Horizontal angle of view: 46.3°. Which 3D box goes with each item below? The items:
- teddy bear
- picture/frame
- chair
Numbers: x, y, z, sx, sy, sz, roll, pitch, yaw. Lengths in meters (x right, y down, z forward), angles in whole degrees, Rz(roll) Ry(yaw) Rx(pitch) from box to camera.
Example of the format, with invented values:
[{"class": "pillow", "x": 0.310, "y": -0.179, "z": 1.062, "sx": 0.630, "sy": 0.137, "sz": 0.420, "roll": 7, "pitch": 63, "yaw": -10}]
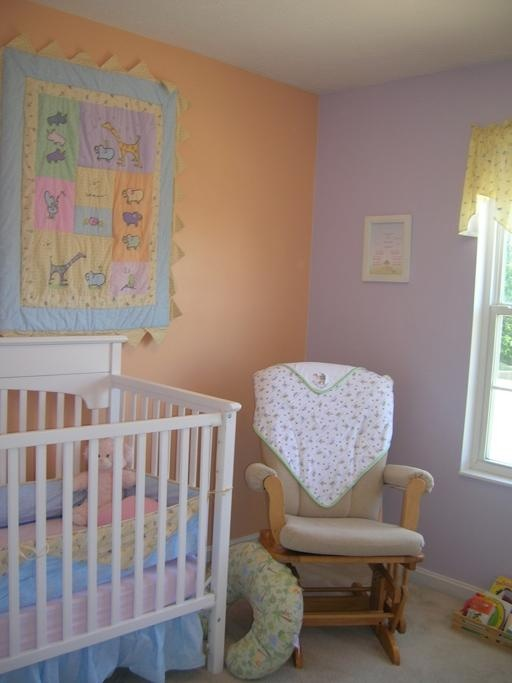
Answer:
[{"class": "teddy bear", "x": -0.539, "y": 0.490, "z": 2.128, "sx": 0.275, "sy": 0.293, "sz": 0.178, "roll": 2, "pitch": -3, "yaw": -8}, {"class": "picture/frame", "x": 0.647, "y": -0.459, "z": 2.922, "sx": 0.031, "sy": 0.416, "sz": 0.369, "roll": 4, "pitch": 0, "yaw": -40}, {"class": "chair", "x": 0.298, "y": 0.618, "z": 2.357, "sx": 0.684, "sy": 0.990, "sz": 0.829, "roll": 3, "pitch": 6, "yaw": 0}]
